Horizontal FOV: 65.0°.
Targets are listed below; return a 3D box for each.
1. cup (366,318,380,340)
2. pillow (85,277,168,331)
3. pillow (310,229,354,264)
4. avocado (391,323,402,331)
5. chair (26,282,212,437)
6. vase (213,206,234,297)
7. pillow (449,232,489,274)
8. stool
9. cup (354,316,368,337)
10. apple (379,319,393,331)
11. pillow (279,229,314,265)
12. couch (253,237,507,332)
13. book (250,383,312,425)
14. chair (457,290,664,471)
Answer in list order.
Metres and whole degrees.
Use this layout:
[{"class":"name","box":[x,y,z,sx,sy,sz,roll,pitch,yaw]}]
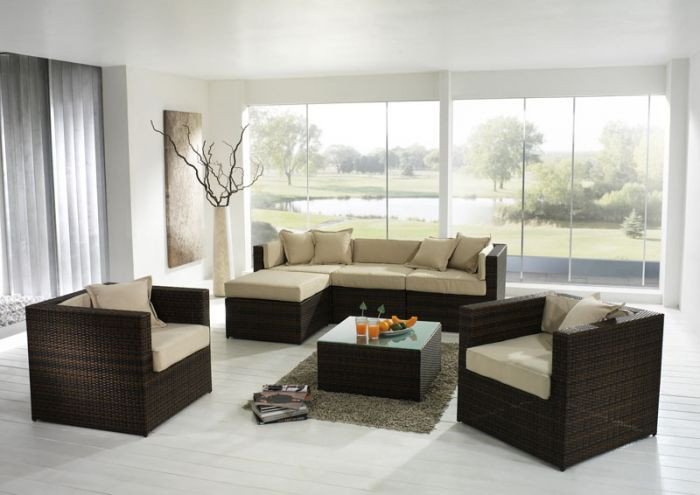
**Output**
[{"class":"cup","box":[0.211,0.709,4.805,0.148,0.212,0.149,1,5,0]},{"class":"pillow","box":[-1.842,0.452,4.500,0.529,0.426,0.196,4,-30,-42]},{"class":"pillow","box":[-0.231,0.003,6.842,0.541,0.477,0.199,-1,-10,-3]},{"class":"avocado","box":[0.414,0.698,4.870,0.069,0.053,0.051,23,40,10]},{"class":"chair","box":[-1.865,0.855,4.627,1.091,0.888,1.101,2,6,10]},{"class":"vase","box":[-1.810,0.059,7.698,0.291,1.214,0.459,-4,14,-14]},{"class":"pillow","box":[1.357,0.060,6.438,0.274,0.394,0.485,-2,12,-20]},{"class":"stool","box":[-0.744,0.574,6.013,0.835,0.517,0.843,0,3,15]},{"class":"cup","box":[0.106,0.702,4.839,0.104,0.143,0.155,0,-3,3]},{"class":"apple","box":[0.313,0.683,4.868,0.091,0.092,0.091,-3,8,-34]},{"class":"pillow","box":[-0.631,0.004,6.891,0.265,0.440,0.542,12,10,40]},{"class":"couch","box":[0.310,0.425,6.611,2.880,0.923,0.837,2,9,15]},{"class":"book","box":[-0.555,1.240,4.397,0.440,0.156,0.354,-2,12,-7]},{"class":"chair","box":[1.567,0.933,4.300,1.308,1.090,1.233,-2,5,-29]}]
